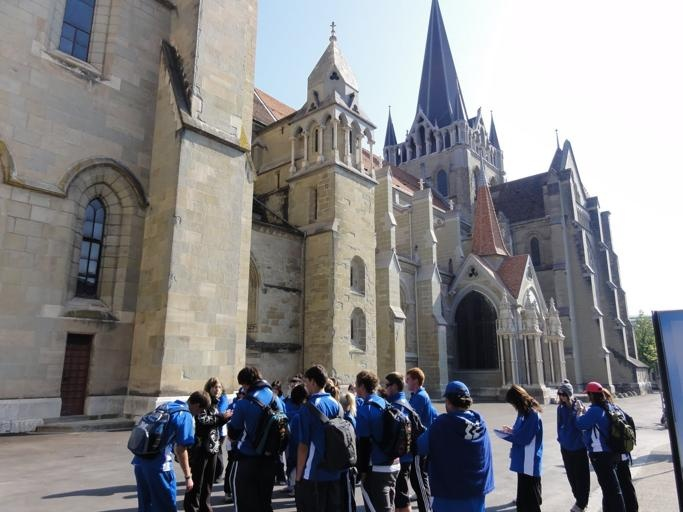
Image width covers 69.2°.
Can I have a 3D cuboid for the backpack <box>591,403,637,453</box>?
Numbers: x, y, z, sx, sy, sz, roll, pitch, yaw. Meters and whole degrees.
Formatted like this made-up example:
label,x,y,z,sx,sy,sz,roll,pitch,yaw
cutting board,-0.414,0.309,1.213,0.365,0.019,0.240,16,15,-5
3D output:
label,x,y,z,sx,sy,sz,roll,pitch,yaw
backpack,4.634,2.912,8.206,0.411,0.744,0.546,-8,-19,30
